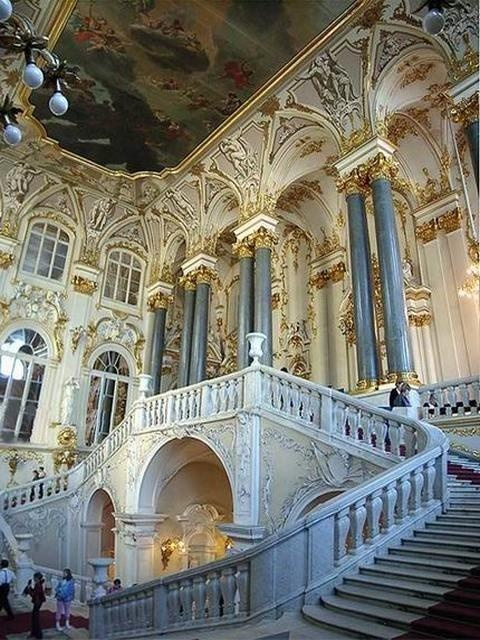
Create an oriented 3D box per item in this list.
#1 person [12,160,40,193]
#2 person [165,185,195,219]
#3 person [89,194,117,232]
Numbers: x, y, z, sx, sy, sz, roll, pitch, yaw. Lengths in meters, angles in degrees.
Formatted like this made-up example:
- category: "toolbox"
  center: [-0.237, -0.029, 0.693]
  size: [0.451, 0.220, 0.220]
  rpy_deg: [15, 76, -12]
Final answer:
- category: "person"
  center: [-6.146, -4.146, 13.864]
  size: [0.311, 1.017, 0.630]
  rpy_deg: [21, -1, 34]
- category: "person"
  center: [-1.795, -3.431, 14.496]
  size: [0.341, 0.899, 0.974]
  rpy_deg: [-9, -2, -36]
- category: "person"
  center: [-4.391, -3.346, 15.529]
  size: [0.950, 0.948, 0.514]
  rpy_deg: [-10, -2, -1]
